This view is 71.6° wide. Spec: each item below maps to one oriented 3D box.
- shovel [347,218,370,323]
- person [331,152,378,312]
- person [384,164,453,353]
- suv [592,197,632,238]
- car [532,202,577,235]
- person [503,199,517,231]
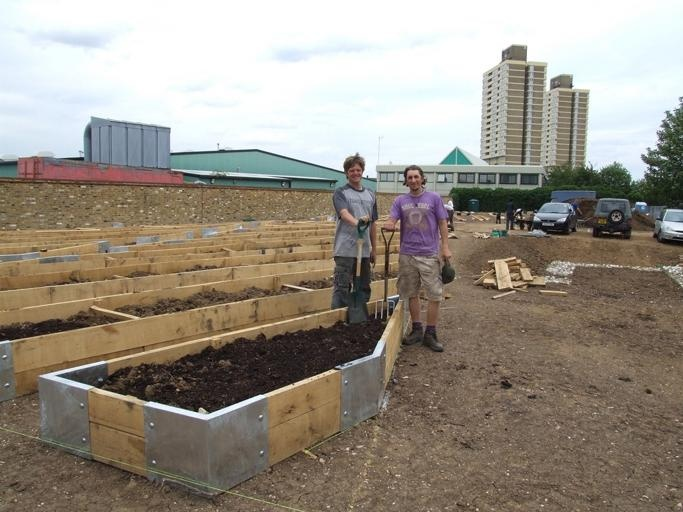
[{"bbox_3d":[0.169,0.168,5.090,0.300,1.131,0.086,12,-13,-38],"label":"shovel"},{"bbox_3d":[0.153,-0.242,5.001,0.536,1.637,0.545,-1,13,-18],"label":"person"},{"bbox_3d":[0.832,0.025,5.165,0.690,1.988,0.897,5,12,13],"label":"person"},{"bbox_3d":[9.684,-1.416,17.164,1.030,0.990,1.970,3,11,28],"label":"suv"},{"bbox_3d":[8.222,-1.474,18.354,1.004,0.765,2.196,-1,-1,27],"label":"car"},{"bbox_3d":[7.587,-1.827,21.557,0.353,1.280,1.736,7,12,19],"label":"person"}]
